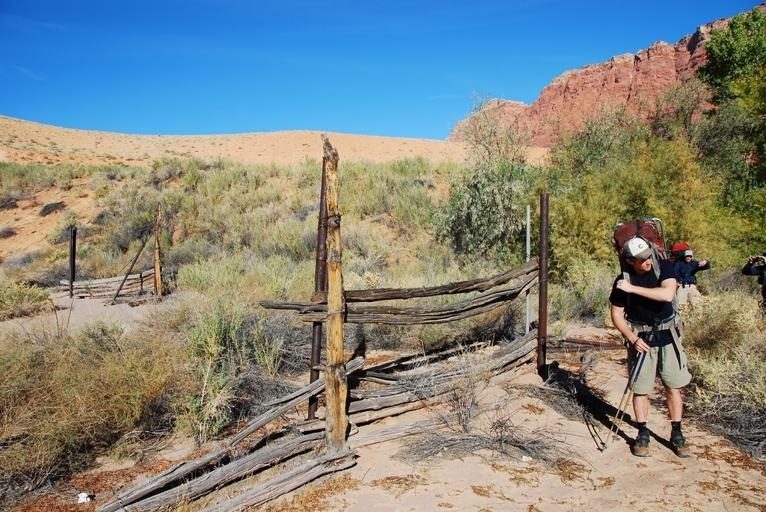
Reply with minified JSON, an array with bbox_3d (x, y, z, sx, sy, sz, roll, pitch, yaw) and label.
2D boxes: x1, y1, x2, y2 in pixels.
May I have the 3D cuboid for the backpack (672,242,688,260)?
[{"bbox_3d":[6.839,-0.108,14.046,0.415,0.488,0.345,1,5,14],"label":"backpack"}]

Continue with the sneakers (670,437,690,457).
[{"bbox_3d":[4.878,3.128,10.028,0.295,0.310,0.191,1,4,30],"label":"sneakers"}]

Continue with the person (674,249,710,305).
[{"bbox_3d":[7.005,0.627,13.980,0.787,1.598,0.771,-5,26,20],"label":"person"}]

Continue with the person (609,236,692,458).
[{"bbox_3d":[4.372,1.490,10.092,1.138,3.596,0.430,0,3,4],"label":"person"}]
